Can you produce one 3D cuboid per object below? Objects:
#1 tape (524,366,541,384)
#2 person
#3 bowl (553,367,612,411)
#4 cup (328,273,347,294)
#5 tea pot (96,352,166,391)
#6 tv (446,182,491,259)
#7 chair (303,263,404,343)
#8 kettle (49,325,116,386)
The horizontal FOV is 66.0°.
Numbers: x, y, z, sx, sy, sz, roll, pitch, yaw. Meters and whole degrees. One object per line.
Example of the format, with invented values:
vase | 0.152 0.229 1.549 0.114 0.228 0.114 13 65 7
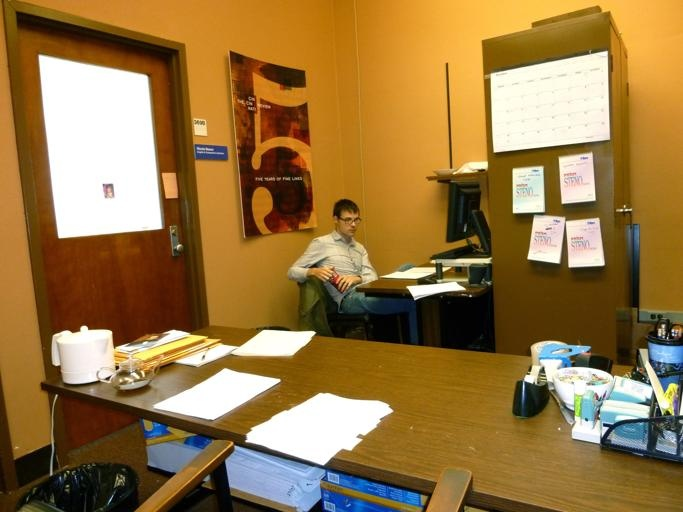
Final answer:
tape | 0.638 0.382 1.733 0.035 0.044 0.156 6 4 27
person | 0.175 0.177 3.967 1.068 1.175 0.603 1 6 8
bowl | 0.753 0.413 1.644 0.164 0.102 0.194 3 12 44
cup | -0.017 0.189 3.750 0.053 0.093 0.151 9 23 -39
tea pot | -0.809 0.437 1.994 0.218 0.132 0.151 -2 8 -25
tv | 0.870 -0.245 3.401 0.213 0.447 0.437 7 10 34
chair | -0.096 0.338 3.724 0.444 0.461 0.403 -5 -13 39
kettle | -1.009 0.370 2.071 0.243 0.224 0.192 2 3 22
